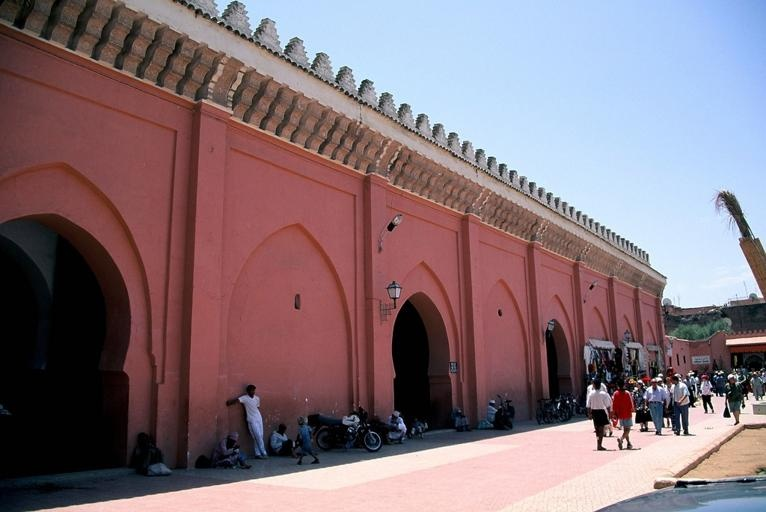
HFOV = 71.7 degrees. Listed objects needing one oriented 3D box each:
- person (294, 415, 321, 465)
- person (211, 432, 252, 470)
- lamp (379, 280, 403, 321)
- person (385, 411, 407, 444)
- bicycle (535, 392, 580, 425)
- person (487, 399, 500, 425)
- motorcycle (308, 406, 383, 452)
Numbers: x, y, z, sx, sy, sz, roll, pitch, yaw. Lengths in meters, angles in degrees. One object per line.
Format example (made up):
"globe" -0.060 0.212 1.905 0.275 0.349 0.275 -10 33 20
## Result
"person" -1.558 3.746 10.888 0.492 0.871 0.336 2 4 23
"person" -2.979 3.823 10.415 0.691 0.673 0.314 3 -18 -20
"lamp" 0.332 1.225 14.389 0.773 0.964 0.688 11 -23 -38
"person" 0.305 4.415 13.760 0.512 0.770 0.486 0 -5 -17
"bicycle" 6.303 5.560 19.233 0.898 1.221 2.060 -6 -9 41
"person" 3.497 4.991 16.852 0.396 0.796 0.687 -6 -18 8
"motorcycle" -0.863 4.116 12.561 1.517 0.945 0.842 -4 -14 12
